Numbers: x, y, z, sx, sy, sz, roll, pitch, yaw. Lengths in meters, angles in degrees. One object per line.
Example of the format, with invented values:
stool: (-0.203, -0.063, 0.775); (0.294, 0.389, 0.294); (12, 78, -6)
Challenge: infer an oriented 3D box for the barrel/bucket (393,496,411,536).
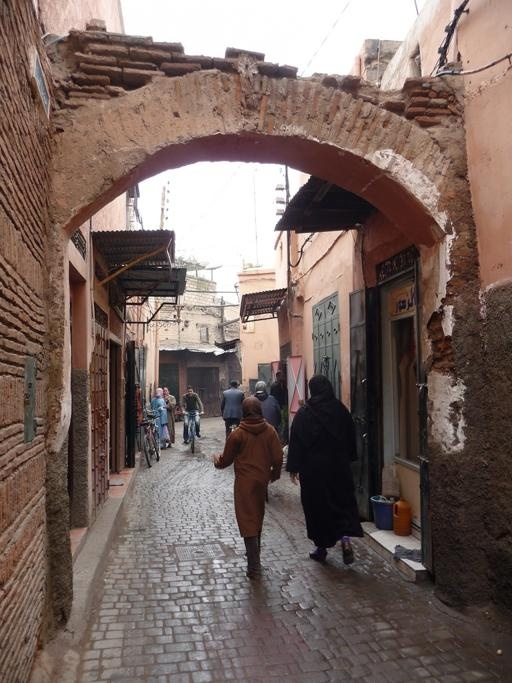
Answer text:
barrel/bucket: (1.379, 1.622, 4.913); (0.196, 0.318, 0.256); (0, -4, 4)

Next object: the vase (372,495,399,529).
vase: (1.243, 1.640, 5.110); (0.205, 0.257, 0.226); (6, -14, -31)

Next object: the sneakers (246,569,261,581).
sneakers: (-0.019, 1.775, 4.081); (0.106, 0.085, 0.135); (0, -5, 2)

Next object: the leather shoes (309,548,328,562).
leather shoes: (0.540, 1.831, 4.533); (0.072, 0.128, 0.145); (3, 0, -20)

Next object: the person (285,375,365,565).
person: (0.592, 1.086, 4.633); (0.638, 1.583, 0.648); (0, -4, 7)

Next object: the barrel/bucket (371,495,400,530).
barrel/bucket: (1.257, 1.656, 5.148); (0.216, 0.270, 0.234); (-1, -11, 0)

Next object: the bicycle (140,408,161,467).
bicycle: (-2.137, 1.832, 10.743); (0.231, 0.498, 0.761); (-19, 13, 12)

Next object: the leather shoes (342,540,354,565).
leather shoes: (0.743, 1.717, 4.297); (0.061, 0.172, 0.243); (-2, -48, 4)

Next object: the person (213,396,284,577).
person: (-0.078, 1.168, 4.491); (0.493, 1.370, 0.578); (-2, -5, 28)

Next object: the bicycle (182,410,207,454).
bicycle: (-1.531, 2.159, 13.027); (0.388, 0.745, 1.044); (0, -9, -4)

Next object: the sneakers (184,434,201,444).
sneakers: (-1.773, 2.743, 14.723); (0.427, 0.362, 0.228); (2, -13, -2)
